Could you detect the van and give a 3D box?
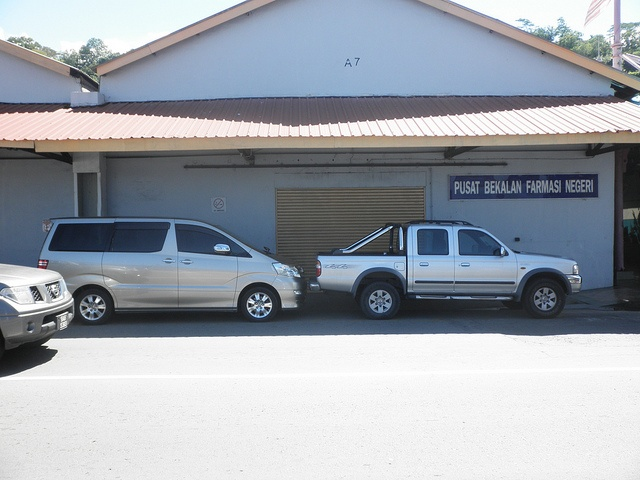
[{"bbox_3d":[-3.146,0.607,13.926,5.538,2.262,2.392,-1,-1,-6],"label":"van"}]

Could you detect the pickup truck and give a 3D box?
[{"bbox_3d":[2.832,0.643,14.388,5.511,2.180,2.405,-2,1,0],"label":"pickup truck"}]
